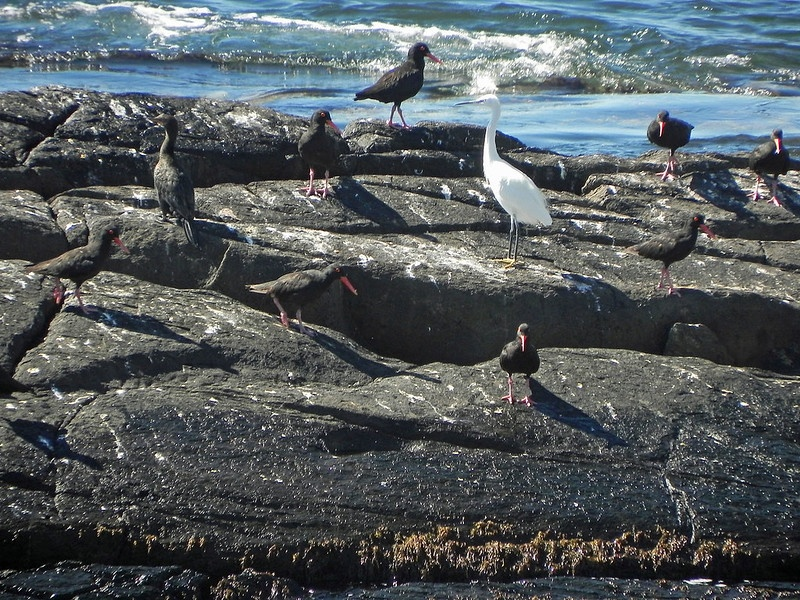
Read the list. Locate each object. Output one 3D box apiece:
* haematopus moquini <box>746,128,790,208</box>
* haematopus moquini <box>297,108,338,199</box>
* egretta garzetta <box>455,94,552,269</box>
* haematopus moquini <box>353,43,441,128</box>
[{"bbox_3d":[6.982,-2.536,28.488,0.841,1.438,0.682,7,17,40],"label":"haematopus moquini"},{"bbox_3d":[-1.445,-2.722,27.647,1.016,1.621,0.815,-1,17,-15],"label":"haematopus moquini"},{"bbox_3d":[2.104,-2.109,26.579,1.598,2.903,1.398,20,24,39],"label":"egretta garzetta"},{"bbox_3d":[0.009,-4.270,29.497,1.823,1.452,0.831,-8,-17,27],"label":"haematopus moquini"}]
